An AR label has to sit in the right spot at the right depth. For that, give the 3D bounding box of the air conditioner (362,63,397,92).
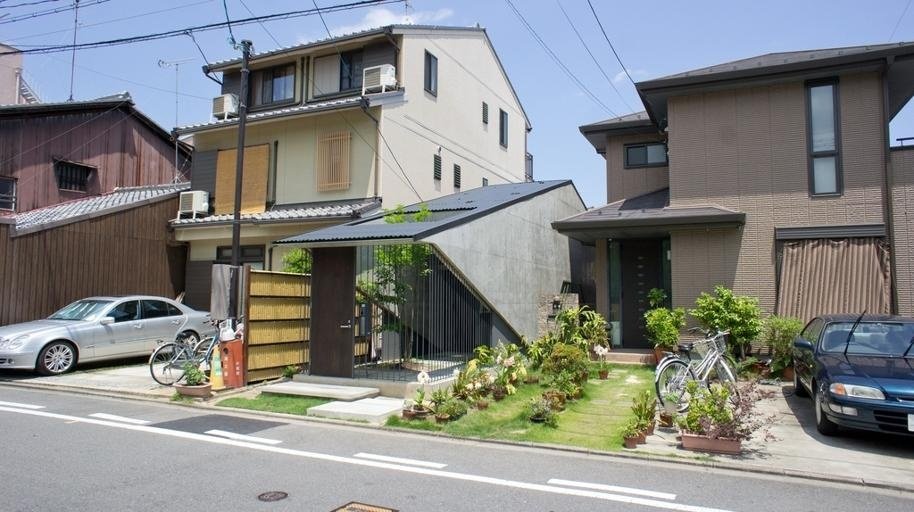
[{"bbox_3d":[-2.982,-6.803,26.632,1.322,1.074,0.466,-4,-16,18],"label":"air conditioner"}]

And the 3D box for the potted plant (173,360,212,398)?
[{"bbox_3d":[-7.423,3.520,19.382,1.112,0.999,0.848,0,-4,1],"label":"potted plant"}]

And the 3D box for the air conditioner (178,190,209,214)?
[{"bbox_3d":[-10.606,-2.132,27.637,0.927,0.745,0.510,-3,-10,15],"label":"air conditioner"}]

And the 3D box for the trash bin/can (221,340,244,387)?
[{"bbox_3d":[-6.610,3.119,20.211,0.605,1.415,0.264,3,-6,-22],"label":"trash bin/can"}]

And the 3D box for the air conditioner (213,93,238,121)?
[{"bbox_3d":[-9.782,-6.220,28.932,1.105,1.321,0.867,1,-5,2],"label":"air conditioner"}]
